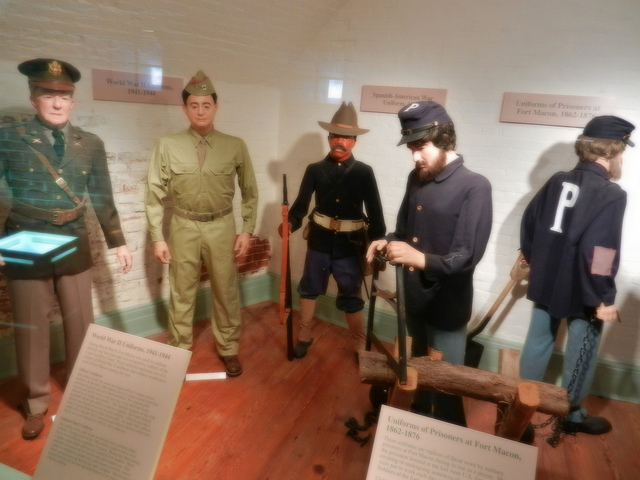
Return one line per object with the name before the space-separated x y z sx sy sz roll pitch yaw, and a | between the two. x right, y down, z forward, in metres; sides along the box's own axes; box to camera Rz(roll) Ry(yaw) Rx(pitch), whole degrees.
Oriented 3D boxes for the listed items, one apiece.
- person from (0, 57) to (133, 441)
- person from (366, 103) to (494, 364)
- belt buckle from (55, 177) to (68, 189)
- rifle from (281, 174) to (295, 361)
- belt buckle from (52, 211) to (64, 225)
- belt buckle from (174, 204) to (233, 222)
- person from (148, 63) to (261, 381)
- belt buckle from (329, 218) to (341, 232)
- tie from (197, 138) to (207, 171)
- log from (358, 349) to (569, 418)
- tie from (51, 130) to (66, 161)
person | -1.497 0.101 2.660 0.697 2.181 0.346 -5 20 -24
person | 0.605 0.028 2.620 0.651 1.543 0.487 13 21 26
belt buckle | -1.405 -0.308 2.464 0.037 0.041 0.010 -45 37 -17
rifle | -0.228 0.434 3.577 0.092 1.031 0.416 3 18 -2
belt buckle | -1.440 -0.117 2.487 0.065 0.063 0.018 6 6 -1
belt buckle | -0.825 -0.179 3.208 0.390 0.079 0.111 -1 19 -15
person | -0.846 -0.081 3.278 0.676 2.144 0.499 5 18 3
belt buckle | 0.096 -0.112 3.334 0.090 0.087 0.024 12 6 17
tie | -0.826 -0.601 3.145 0.051 0.187 0.086 8 19 14
log | 0.747 0.702 2.464 1.300 0.236 0.246 -8 53 37
tie | -1.385 -0.505 2.406 0.010 0.151 0.062 13 21 28
